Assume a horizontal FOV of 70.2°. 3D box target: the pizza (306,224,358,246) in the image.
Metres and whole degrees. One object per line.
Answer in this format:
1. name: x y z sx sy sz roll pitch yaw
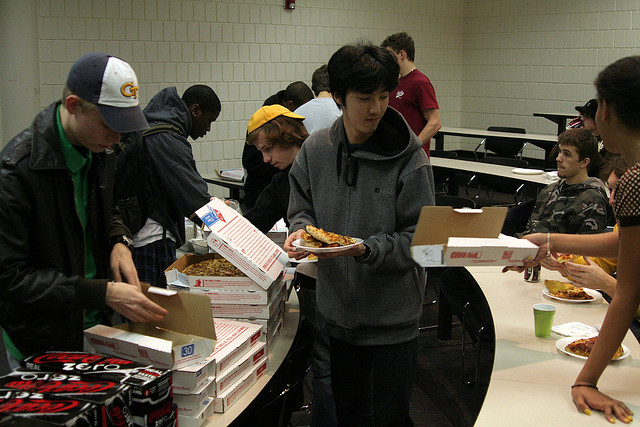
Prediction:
1. pizza: 0.038 0.097 1.868 0.143 0.031 0.098 16 -2 0

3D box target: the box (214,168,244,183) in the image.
1. box: -1.108 -0.492 5.774 0.307 0.141 0.702 -5 15 -31

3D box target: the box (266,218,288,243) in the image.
1. box: -0.279 0.118 2.944 0.142 0.133 0.206 0 11 -1

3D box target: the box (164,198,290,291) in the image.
1. box: -0.359 0.131 2.199 0.379 0.601 0.678 -3 7 -26

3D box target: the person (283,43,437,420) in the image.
1. person: 0.162 0.137 2.015 0.648 1.714 0.489 3 13 3

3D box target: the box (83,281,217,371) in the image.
1. box: -0.621 0.289 1.734 0.498 0.280 0.292 5 2 30

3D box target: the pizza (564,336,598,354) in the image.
1. pizza: 1.183 0.596 2.069 0.112 0.035 0.105 4 19 23

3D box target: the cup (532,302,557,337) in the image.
1. cup: 1.074 0.533 2.278 0.145 0.161 0.150 1 0 0

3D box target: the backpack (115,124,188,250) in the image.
1. backpack: -1.037 -0.182 2.762 0.440 0.824 0.634 6 8 -15

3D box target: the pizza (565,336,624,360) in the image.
1. pizza: 1.222 0.604 2.041 0.221 0.057 0.153 11 16 32

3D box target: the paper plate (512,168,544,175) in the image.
1. paper plate: 2.666 -0.546 5.886 0.341 0.052 0.306 4 13 6

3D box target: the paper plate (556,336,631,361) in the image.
1. paper plate: 1.138 0.571 1.901 0.179 0.026 0.185 -2 9 4

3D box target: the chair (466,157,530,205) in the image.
1. chair: 2.603 -0.481 6.695 0.735 0.995 0.693 11 11 37
